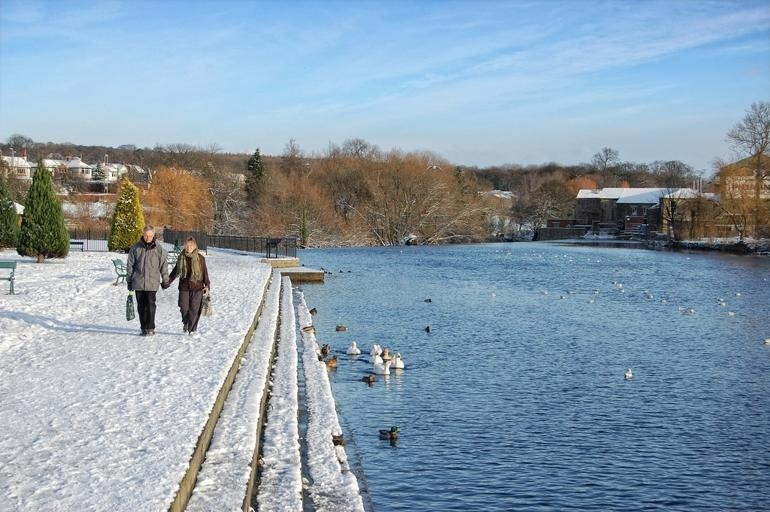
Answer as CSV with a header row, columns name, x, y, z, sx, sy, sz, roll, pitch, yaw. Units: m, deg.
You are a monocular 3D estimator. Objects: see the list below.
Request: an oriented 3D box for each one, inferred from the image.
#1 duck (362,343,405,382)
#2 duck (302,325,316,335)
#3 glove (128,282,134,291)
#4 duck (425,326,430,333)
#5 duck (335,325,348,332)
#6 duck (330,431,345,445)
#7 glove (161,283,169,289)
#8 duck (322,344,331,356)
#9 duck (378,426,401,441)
name,x,y,z,sx,sy,sz,roll,pitch,yaw
duck,0.001,2.526,18.388,0.565,0.624,0.928,0,7,-9
duck,-2.092,2.010,21.383,0.344,0.219,0.856,4,9,-4
glove,-5.670,0.651,17.430,0.074,0.215,0.140,-2,13,-36
duck,1.234,2.114,22.659,0.115,0.164,0.281,1,-8,-2
duck,-1.239,2.053,22.336,0.185,0.164,0.249,0,4,-7
duck,-0.839,3.277,14.125,0.219,0.126,0.206,4,35,-9
glove,-4.922,0.645,17.509,0.142,0.121,0.193,8,-37,-16
duck,-1.447,2.315,19.286,0.245,0.321,0.190,-16,13,4
duck,0.079,3.278,14.812,0.403,0.226,0.557,5,9,1
